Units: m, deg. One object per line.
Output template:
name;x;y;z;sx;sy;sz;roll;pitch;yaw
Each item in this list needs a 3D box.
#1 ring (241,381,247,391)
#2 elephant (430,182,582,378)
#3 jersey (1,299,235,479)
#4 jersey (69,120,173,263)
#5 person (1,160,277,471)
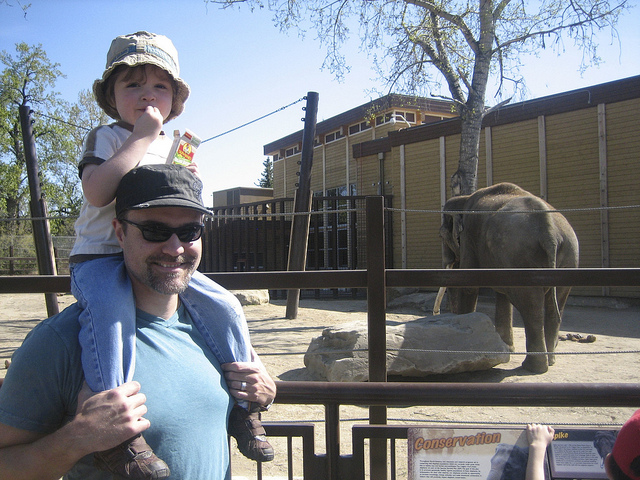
ring;-0.367;0.703;3.012;0.021;0.040;0.008;4;-10;-3
elephant;2.413;0.441;8.911;1.136;2.207;3.216;1;0;-14
jersey;-0.873;0.679;2.755;0.362;0.679;0.681;-19;-22;37
jersey;-1.002;-0.294;3.397;0.365;0.723;0.581;22;20;36
person;-0.816;0.313;2.917;1.053;1.487;0.415;12;-12;-37
